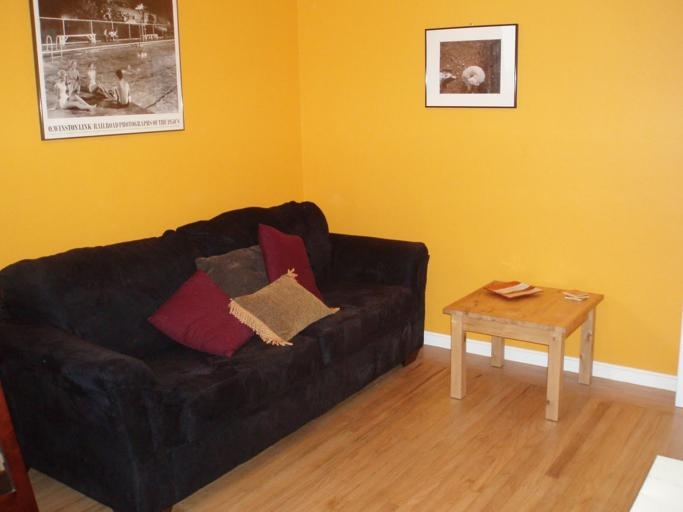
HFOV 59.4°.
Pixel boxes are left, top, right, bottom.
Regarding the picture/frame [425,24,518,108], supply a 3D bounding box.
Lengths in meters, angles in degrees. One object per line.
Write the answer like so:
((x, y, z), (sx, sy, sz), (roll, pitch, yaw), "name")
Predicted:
((0.916, -1.323, 4.112), (0.588, 0.523, 0.026), (4, 12, 30), "picture/frame")

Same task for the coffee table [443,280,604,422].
((1.167, 0.561, 3.877), (0.809, 0.620, 0.820), (10, 21, 31), "coffee table")
